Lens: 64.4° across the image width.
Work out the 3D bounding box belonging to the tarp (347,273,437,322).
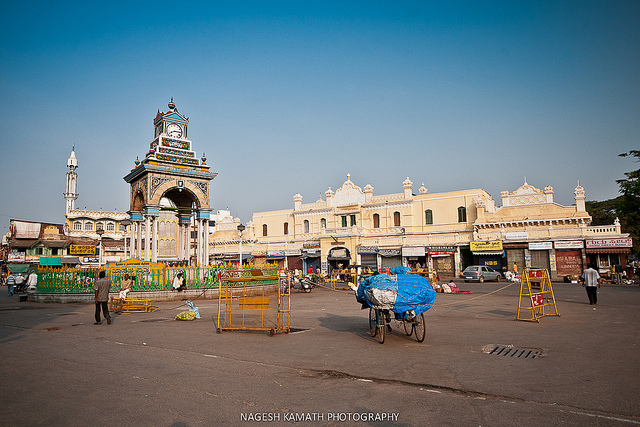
[{"bbox_3d":[2.530,2.481,16.521,2.532,1.275,3.278,6,-4,2],"label":"tarp"}]

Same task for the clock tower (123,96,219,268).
[{"bbox_3d":[-9.376,-1.960,31.910,3.668,10.218,4.304,-1,-2,45],"label":"clock tower"}]

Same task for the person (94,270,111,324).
[{"bbox_3d":[-8.041,3.100,18.822,0.518,1.904,1.001,1,-1,-25],"label":"person"}]

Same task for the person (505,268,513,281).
[{"bbox_3d":[14.846,4.791,39.861,0.672,0.908,0.345,3,-5,-39],"label":"person"}]

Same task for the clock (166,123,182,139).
[{"bbox_3d":[-9.331,-5.270,32.211,0.118,0.866,0.873,-8,-27,34],"label":"clock"}]

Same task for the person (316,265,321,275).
[{"bbox_3d":[-0.195,5.664,51.386,0.380,0.387,1.140,-5,8,-6],"label":"person"}]

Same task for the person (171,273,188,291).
[{"bbox_3d":[-7.412,3.546,26.261,0.777,1.118,0.789,-9,-8,42],"label":"person"}]

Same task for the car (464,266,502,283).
[{"bbox_3d":[12.811,4.750,40.053,2.756,0.961,1.302,1,-2,-32],"label":"car"}]

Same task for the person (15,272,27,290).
[{"bbox_3d":[-19.923,4.570,33.707,0.514,0.965,1.125,1,-2,-31],"label":"person"}]
